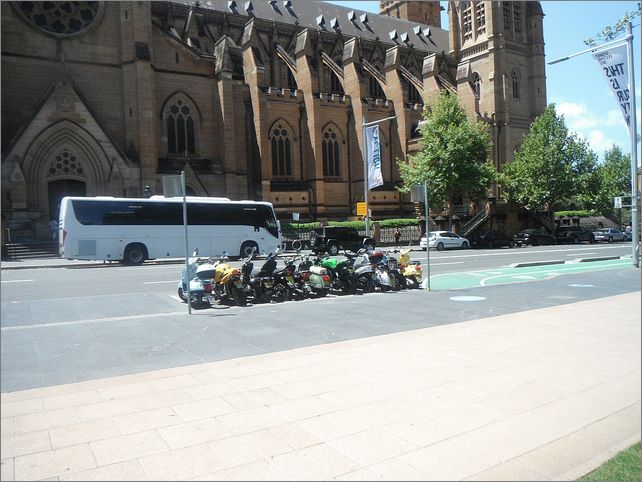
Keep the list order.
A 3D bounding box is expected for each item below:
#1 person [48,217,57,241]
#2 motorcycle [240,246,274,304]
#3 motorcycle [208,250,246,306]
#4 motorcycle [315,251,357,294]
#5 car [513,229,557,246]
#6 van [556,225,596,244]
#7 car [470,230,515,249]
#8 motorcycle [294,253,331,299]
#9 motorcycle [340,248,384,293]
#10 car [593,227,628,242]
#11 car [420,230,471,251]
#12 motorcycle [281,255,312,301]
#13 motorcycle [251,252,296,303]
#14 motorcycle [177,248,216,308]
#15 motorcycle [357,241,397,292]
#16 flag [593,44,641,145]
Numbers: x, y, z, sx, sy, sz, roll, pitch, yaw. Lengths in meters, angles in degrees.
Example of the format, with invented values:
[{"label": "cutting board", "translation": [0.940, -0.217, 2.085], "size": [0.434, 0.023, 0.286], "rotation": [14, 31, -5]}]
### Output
[{"label": "person", "translation": [-15.057, -0.536, 31.572], "size": [0.290, 1.249, 1.905], "rotation": [-3, 1, -30]}, {"label": "motorcycle", "translation": [-1.826, 1.072, 15.253], "size": [0.941, 1.198, 1.704], "rotation": [-19, 2, -19]}, {"label": "motorcycle", "translation": [-2.572, 1.051, 14.896], "size": [0.802, 1.261, 1.807], "rotation": [-6, 4, -30]}, {"label": "motorcycle", "translation": [0.332, 0.922, 16.599], "size": [0.882, 1.270, 1.931], "rotation": [-5, 7, -36]}, {"label": "car", "translation": [16.626, -0.243, 44.062], "size": [3.273, 1.106, 1.379], "rotation": [-4, 6, -31]}, {"label": "van", "translation": [21.439, -0.502, 47.703], "size": [3.103, 1.277, 1.474], "rotation": [-7, 8, -27]}, {"label": "car", "translation": [12.530, -0.037, 41.516], "size": [2.895, 0.985, 1.309], "rotation": [-5, 7, -30]}, {"label": "motorcycle", "translation": [-0.354, 1.022, 16.201], "size": [0.590, 1.021, 1.860], "rotation": [-4, 5, -31]}, {"label": "motorcycle", "translation": [1.310, 0.860, 16.825], "size": [1.418, 0.996, 0.830], "rotation": [-3, 4, -23]}, {"label": "car", "translation": [25.082, -0.437, 48.867], "size": [2.870, 0.990, 1.333], "rotation": [-5, 7, -28]}, {"label": "car", "translation": [8.246, 0.038, 38.034], "size": [2.614, 0.911, 1.228], "rotation": [-4, 6, -30]}, {"label": "motorcycle", "translation": [-0.738, 1.141, 15.306], "size": [0.772, 1.092, 1.806], "rotation": [18, -7, 5]}, {"label": "motorcycle", "translation": [-1.348, 0.976, 15.295], "size": [0.903, 1.309, 1.895], "rotation": [1, -3, -33]}, {"label": "motorcycle", "translation": [-3.346, 1.029, 14.830], "size": [0.888, 1.419, 1.981], "rotation": [10, -9, -31]}, {"label": "motorcycle", "translation": [1.601, 0.879, 16.559], "size": [1.665, 1.133, 0.862], "rotation": [-7, 3, 23]}, {"label": "flag", "translation": [10.617, -5.461, 19.919], "size": [1.222, 2.121, 0.986], "rotation": [-3, 1, -17]}]
